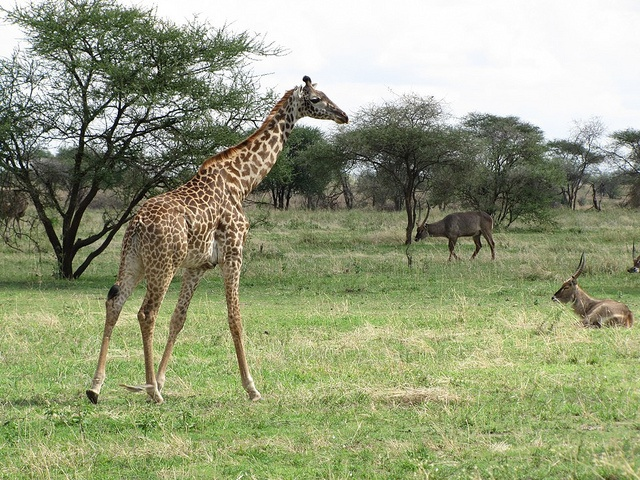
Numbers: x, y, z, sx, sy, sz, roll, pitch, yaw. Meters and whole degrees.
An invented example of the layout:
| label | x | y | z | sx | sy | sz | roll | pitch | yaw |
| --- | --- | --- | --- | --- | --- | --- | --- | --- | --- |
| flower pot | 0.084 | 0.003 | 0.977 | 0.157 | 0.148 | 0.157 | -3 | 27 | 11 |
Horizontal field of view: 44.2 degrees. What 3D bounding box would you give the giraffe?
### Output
| label | x | y | z | sx | sy | sz | roll | pitch | yaw |
| --- | --- | --- | --- | --- | --- | --- | --- | --- | --- |
| giraffe | -2.254 | -0.243 | 12.915 | 2.930 | 6.143 | 2.293 | 3 | 1 | -43 |
